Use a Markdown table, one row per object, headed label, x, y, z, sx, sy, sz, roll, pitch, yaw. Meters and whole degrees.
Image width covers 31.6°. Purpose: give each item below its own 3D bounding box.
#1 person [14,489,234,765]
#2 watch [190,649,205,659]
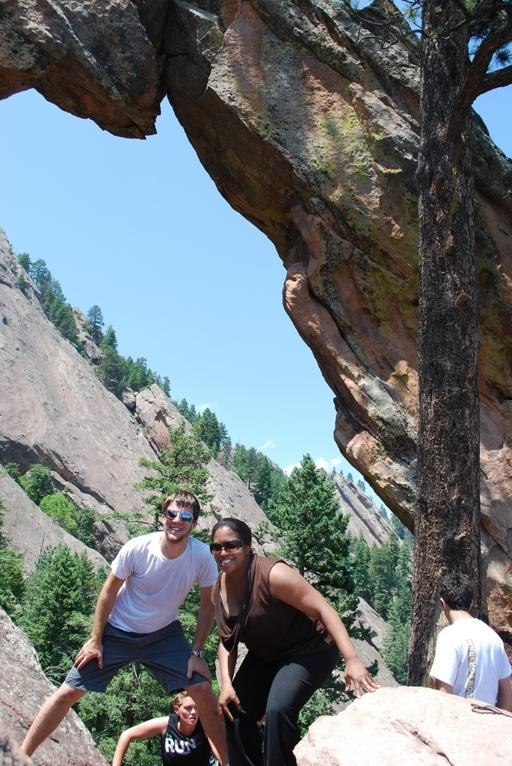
| label | x | y | z | sx | sy | sz | roll | pitch | yaw |
| --- | --- | --- | --- | --- | --- | --- | --- | --- | --- |
| person | -0.788 | 1.967 | 7.120 | 1.342 | 2.249 | 0.580 | 21 | -15 | -6 |
| watch | -0.467 | 2.146 | 7.227 | 0.092 | 0.050 | 0.092 | -13 | -16 | 37 |
